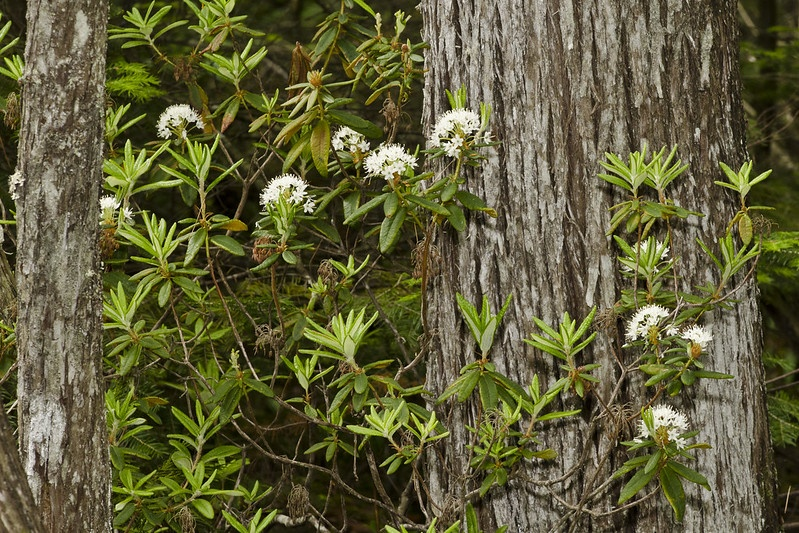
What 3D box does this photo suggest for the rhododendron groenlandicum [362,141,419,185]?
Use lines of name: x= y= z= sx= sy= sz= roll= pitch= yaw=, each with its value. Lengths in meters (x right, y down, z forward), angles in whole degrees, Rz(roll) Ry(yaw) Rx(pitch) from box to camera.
rhododendron groenlandicum: x=-0.049 y=-0.410 z=5.854 sx=0.180 sy=0.151 sz=0.179 roll=-26 pitch=38 yaw=-32

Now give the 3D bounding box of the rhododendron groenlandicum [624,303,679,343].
rhododendron groenlandicum: x=1.102 y=0.252 z=5.817 sx=0.161 sy=0.112 sz=0.185 roll=-5 pitch=63 yaw=47

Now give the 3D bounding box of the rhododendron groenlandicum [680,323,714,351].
rhododendron groenlandicum: x=1.294 y=0.289 z=5.779 sx=0.101 sy=0.124 sz=0.080 roll=9 pitch=60 yaw=-8

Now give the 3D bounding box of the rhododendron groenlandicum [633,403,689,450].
rhododendron groenlandicum: x=1.157 y=0.734 z=5.759 sx=0.173 sy=0.132 sz=0.214 roll=-5 pitch=46 yaw=-9

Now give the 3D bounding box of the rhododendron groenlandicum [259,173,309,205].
rhododendron groenlandicum: x=-0.526 y=-0.355 z=6.003 sx=0.145 sy=0.128 sz=0.165 roll=-22 pitch=12 yaw=19

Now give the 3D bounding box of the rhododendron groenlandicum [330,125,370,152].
rhododendron groenlandicum: x=-0.227 y=-0.597 z=6.127 sx=0.122 sy=0.095 sz=0.139 roll=2 pitch=33 yaw=-24

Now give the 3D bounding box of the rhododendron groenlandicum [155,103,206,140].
rhododendron groenlandicum: x=-1.048 y=-0.690 z=6.324 sx=0.195 sy=0.188 sz=0.176 roll=11 pitch=83 yaw=4

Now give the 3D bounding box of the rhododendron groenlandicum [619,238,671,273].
rhododendron groenlandicum: x=1.103 y=-0.023 z=5.886 sx=0.159 sy=0.101 sz=0.185 roll=-22 pitch=31 yaw=32

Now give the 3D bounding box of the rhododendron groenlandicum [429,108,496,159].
rhododendron groenlandicum: x=0.268 y=-0.597 z=5.961 sx=0.300 sy=0.272 sz=0.226 roll=-21 pitch=82 yaw=-1
